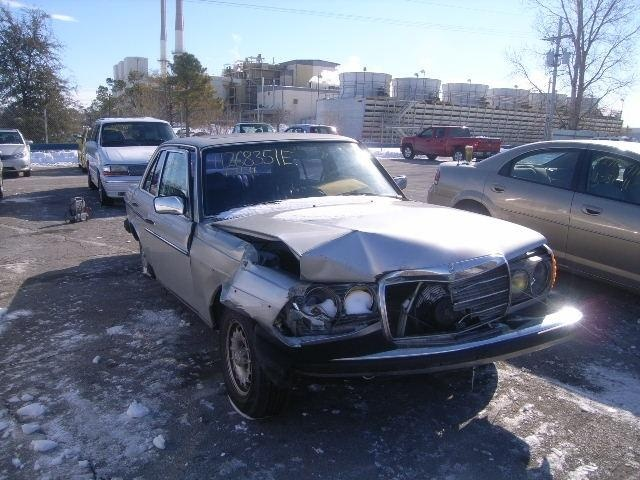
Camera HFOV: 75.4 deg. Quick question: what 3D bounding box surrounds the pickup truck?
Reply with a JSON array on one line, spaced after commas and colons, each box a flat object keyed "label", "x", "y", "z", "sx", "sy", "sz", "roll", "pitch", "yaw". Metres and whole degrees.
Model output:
[{"label": "pickup truck", "x": 8.409, "y": -6.113, "z": 27.657, "sx": 3.396, "sy": 1.988, "sz": 6.827, "roll": -12, "pitch": 22, "yaw": -37}]

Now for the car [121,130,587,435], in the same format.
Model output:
[{"label": "car", "x": 0.056, "y": 0.119, "z": 3.469, "sx": 1.994, "sy": 2.012, "sz": 3.172, "roll": -12, "pitch": 19, "yaw": -37}]
